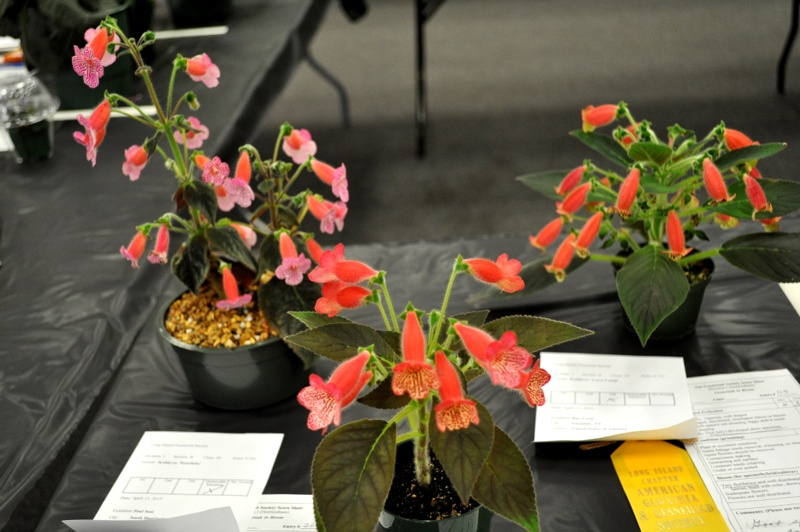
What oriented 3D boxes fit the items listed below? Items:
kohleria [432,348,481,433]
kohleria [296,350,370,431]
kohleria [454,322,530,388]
[{"bbox_3d":[0.071,0.163,0.751,0.064,0.066,0.100,13,30,-18],"label":"kohleria"},{"bbox_3d":[-0.097,0.167,0.792,0.075,0.118,0.072,26,40,21],"label":"kohleria"},{"bbox_3d":[0.118,0.103,0.765,0.065,0.039,0.100,-40,70,-18],"label":"kohleria"}]
